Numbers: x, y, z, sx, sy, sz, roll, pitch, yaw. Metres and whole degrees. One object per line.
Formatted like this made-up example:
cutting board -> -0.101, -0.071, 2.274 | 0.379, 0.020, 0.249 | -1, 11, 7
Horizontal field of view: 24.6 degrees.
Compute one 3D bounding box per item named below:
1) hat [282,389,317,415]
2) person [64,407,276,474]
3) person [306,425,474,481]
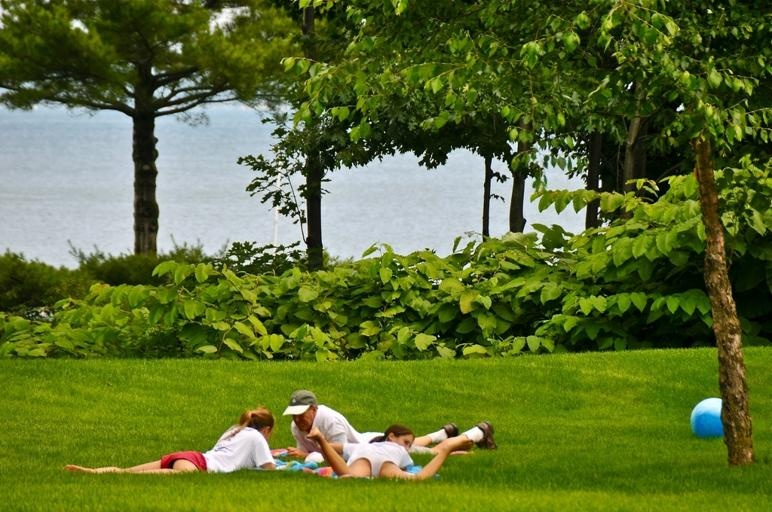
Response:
hat -> -1.410, 2.480, 29.325 | 0.355, 0.252, 0.514 | -6, -2, 30
person -> -3.402, 3.184, 29.241 | 3.668, 1.181, 1.281 | -4, 14, -14
person -> 0.007, 3.285, 28.854 | 1.134, 0.546, 1.639 | 5, 8, 38
